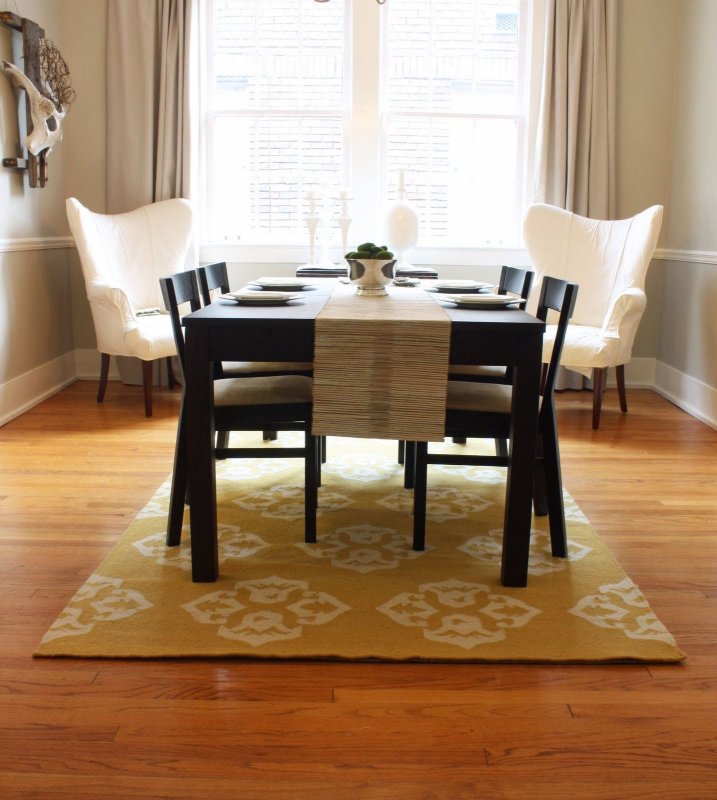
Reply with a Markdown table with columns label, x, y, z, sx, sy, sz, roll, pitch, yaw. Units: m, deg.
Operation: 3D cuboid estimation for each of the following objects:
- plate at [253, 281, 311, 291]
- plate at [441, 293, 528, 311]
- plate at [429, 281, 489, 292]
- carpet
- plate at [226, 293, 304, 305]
| label | x | y | z | sx | sy | sz | roll | pitch | yaw |
| --- | --- | --- | --- | --- | --- | --- | --- | --- | --- |
| plate | -0.264 | -0.394 | 2.429 | 0.193 | 0.032 | 0.130 | 0 | 10 | -4 |
| plate | 0.363 | -0.293 | 2.096 | 0.234 | 0.040 | 0.253 | 2 | 10 | 6 |
| plate | 0.357 | -0.413 | 2.570 | 0.224 | 0.036 | 0.202 | 3 | 11 | 10 |
| carpet | 0.021 | 0.429 | 2.183 | 1.514 | 0.030 | 1.423 | 1 | 10 | -1 |
| plate | -0.276 | -0.290 | 2.025 | 0.209 | 0.034 | 0.142 | -1 | 11 | -11 |
